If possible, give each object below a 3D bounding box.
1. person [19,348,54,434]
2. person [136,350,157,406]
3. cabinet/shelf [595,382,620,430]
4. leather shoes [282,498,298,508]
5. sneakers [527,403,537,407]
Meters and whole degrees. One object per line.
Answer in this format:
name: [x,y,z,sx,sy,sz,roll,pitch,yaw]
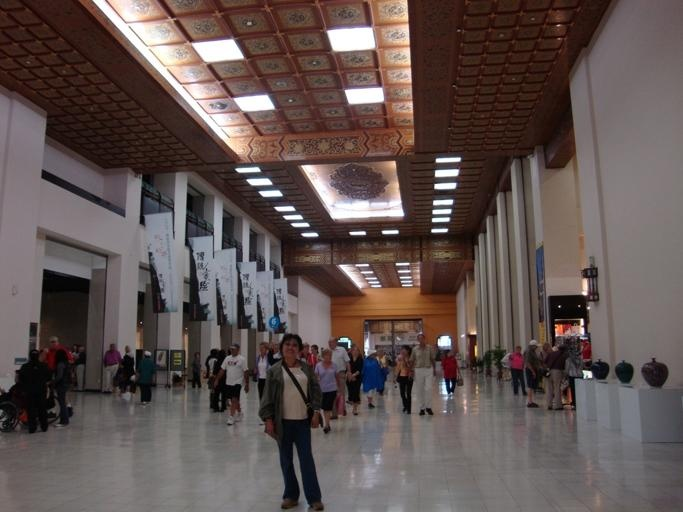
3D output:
person: [-6.087,2.687,9.345,0.690,1.586,0.550,-13,-17,39]
person: [-6.321,3.909,15.104,0.476,1.596,1.747,3,-14,-23]
cabinet/shelf: [5.121,2.888,9.076,0.310,0.855,0.768,-5,-13,12]
leather shoes: [-0.523,2.488,4.714,0.069,0.090,0.211,-2,-25,9]
sneakers: [5.103,4.034,12.636,0.105,0.106,0.264,4,-24,-2]
